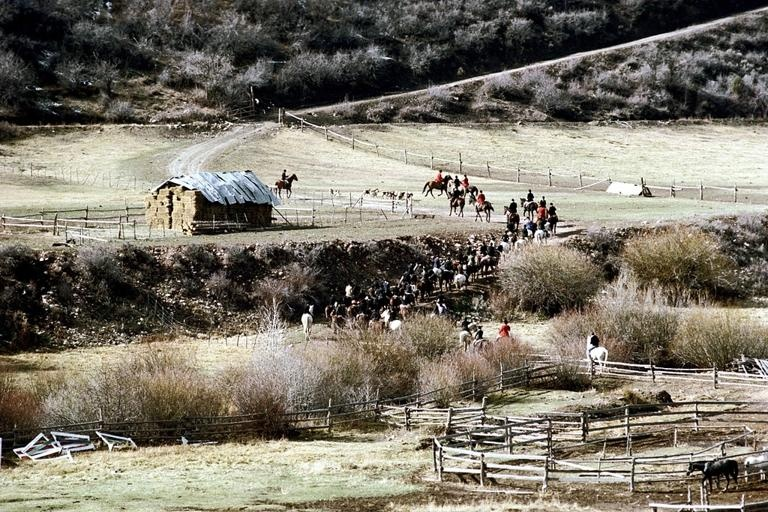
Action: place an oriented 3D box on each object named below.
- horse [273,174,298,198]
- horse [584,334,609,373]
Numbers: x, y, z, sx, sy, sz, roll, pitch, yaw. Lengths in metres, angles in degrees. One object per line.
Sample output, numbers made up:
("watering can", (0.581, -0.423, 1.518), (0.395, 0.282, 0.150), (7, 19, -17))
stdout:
("horse", (-8.962, -6.488, 143.325), (1.791, 2.112, 3.226), (-1, 6, -4))
("horse", (14.913, 6.829, 110.062), (0.934, 2.586, 2.816), (7, 1, -26))
